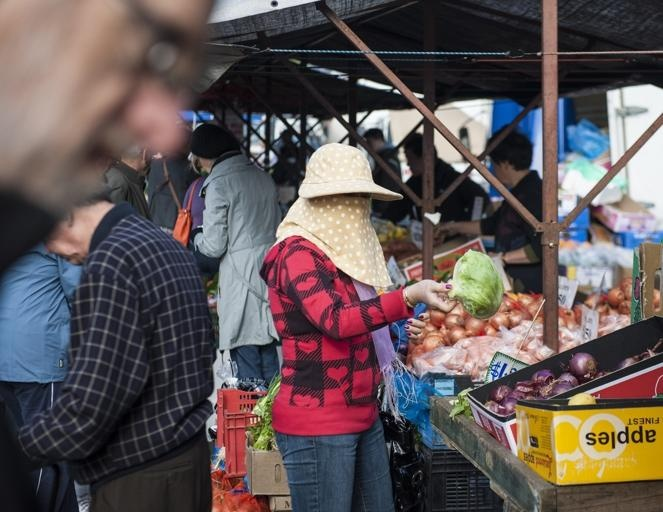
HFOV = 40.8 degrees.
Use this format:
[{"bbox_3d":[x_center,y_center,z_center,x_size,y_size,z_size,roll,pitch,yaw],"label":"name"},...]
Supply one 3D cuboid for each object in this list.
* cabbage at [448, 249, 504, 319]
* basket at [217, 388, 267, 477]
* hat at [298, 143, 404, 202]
[{"bbox_3d":[0.641,0.118,4.021,0.201,0.346,0.222,-2,9,-16],"label":"cabbage"},{"bbox_3d":[-0.582,1.008,5.196,0.407,0.448,0.373,-1,-2,-13],"label":"basket"},{"bbox_3d":[0.046,-0.354,3.933,0.272,0.171,0.289,3,2,43],"label":"hat"}]
